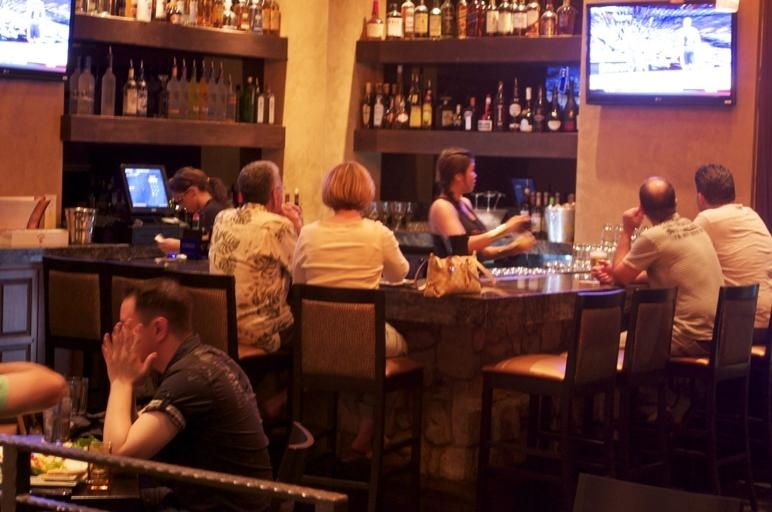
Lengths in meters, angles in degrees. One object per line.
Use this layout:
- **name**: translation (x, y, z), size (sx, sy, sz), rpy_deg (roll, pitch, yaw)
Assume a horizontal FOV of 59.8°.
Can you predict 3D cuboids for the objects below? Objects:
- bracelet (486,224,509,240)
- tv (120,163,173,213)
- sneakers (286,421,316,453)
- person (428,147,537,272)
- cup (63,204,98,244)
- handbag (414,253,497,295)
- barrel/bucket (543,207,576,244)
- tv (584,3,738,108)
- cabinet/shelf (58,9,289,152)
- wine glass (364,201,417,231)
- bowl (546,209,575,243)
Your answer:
- **bracelet**: translation (0.767, -0.163, 4.645), size (0.127, 0.120, 0.332), rpy_deg (1, 7, 9)
- **tv**: translation (-2.209, -0.605, 6.141), size (0.212, 0.432, 0.406), rpy_deg (-15, -6, 41)
- **sneakers**: translation (-0.414, 0.902, 3.347), size (0.112, 0.056, 0.171), rpy_deg (0, 5, -36)
- **person**: translation (0.678, -0.167, 4.950), size (0.604, 1.222, 0.673), rpy_deg (-13, 20, -21)
- **cup**: translation (-2.442, -0.245, 5.345), size (0.246, 0.295, 0.271), rpy_deg (1, -2, 0)
- **handbag**: translation (0.367, 0.096, 3.782), size (0.371, 0.226, 0.210), rpy_deg (-2, 20, -27)
- **barrel/bucket**: translation (1.659, -0.283, 6.400), size (0.286, 0.264, 0.328), rpy_deg (0, 1, 19)
- **tv**: translation (2.355, -1.678, 5.600), size (0.842, 0.630, 0.070), rpy_deg (3, 8, 19)
- **cabinet/shelf**: translation (-1.953, -1.593, 6.465), size (1.948, 1.120, 0.535), rpy_deg (2, 2, -3)
- **wine glass**: translation (0.075, -0.441, 7.183), size (0.307, 0.271, 0.362), rpy_deg (4, 6, 33)
- **bowl**: translation (1.675, -0.283, 6.440), size (0.336, 0.321, 0.357), rpy_deg (-2, 3, 0)
